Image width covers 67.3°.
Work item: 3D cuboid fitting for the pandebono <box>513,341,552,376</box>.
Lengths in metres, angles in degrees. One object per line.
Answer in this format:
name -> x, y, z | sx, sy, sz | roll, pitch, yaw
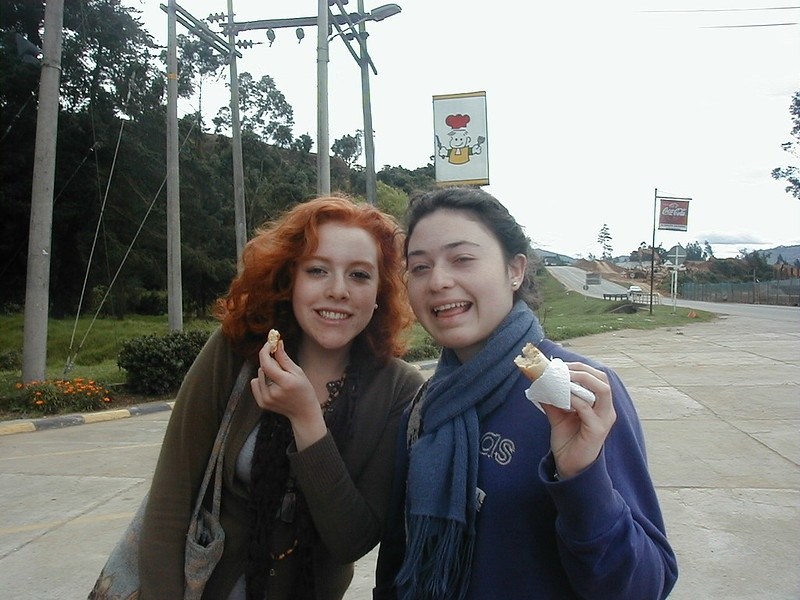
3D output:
pandebono -> 0.492, 0.230, 2.260 | 0.124, 0.124, 0.038 | 43, 2, 31
